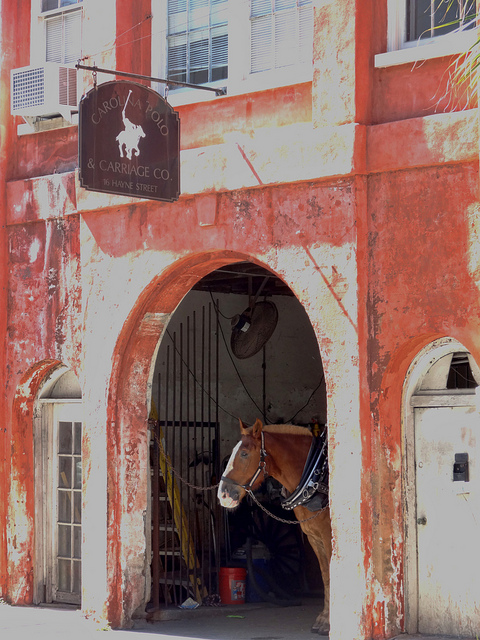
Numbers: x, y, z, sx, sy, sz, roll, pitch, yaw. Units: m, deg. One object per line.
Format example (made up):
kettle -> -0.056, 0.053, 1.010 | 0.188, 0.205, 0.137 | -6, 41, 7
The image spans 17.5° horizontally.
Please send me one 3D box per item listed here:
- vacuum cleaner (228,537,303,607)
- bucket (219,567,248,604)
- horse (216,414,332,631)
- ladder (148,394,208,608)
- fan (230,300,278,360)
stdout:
vacuum cleaner -> 0.218, 2.462, 15.195 | 0.500, 0.737, 0.525 | 1, -6, -37
bucket -> -0.057, 2.492, 14.681 | 0.217, 0.347, 0.274 | 1, -6, -3
horse -> 0.346, 1.748, 13.335 | 0.920, 1.789, 3.179 | 5, -13, 3
ladder -> -0.575, 1.947, 14.728 | 0.398, 2.270, 0.441 | -2, -2, 5
fan -> 0.155, 0.074, 15.678 | 0.415, 0.519, 0.782 | 7, -13, -2
